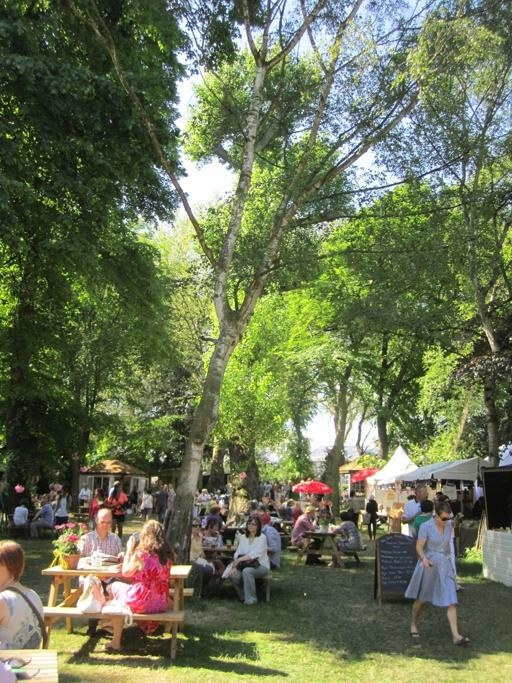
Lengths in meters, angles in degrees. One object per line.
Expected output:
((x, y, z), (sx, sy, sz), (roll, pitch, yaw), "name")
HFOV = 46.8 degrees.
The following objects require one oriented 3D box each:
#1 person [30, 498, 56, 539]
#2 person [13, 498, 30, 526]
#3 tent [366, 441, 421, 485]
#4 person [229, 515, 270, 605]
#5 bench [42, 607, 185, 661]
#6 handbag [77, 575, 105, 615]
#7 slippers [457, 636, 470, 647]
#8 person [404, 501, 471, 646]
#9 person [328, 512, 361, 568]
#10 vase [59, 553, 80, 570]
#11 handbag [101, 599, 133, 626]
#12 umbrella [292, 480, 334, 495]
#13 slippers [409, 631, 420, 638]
((-6.239, 5.164, 17.389), (0.645, 1.022, 1.608), (9, -16, -16), "person")
((-6.676, 4.914, 16.892), (0.437, 0.743, 0.836), (9, -16, -18), "person")
((5.342, 4.860, 22.870), (1.730, 0.995, 1.653), (0, -2, -11), "tent")
((-0.119, 3.365, 9.225), (0.570, 1.253, 0.667), (1, -16, 13), "person")
((-1.399, 2.851, 6.024), (1.302, 0.437, 1.443), (5, -15, -4), "bench")
((-1.598, 2.448, 5.717), (0.168, 0.303, 0.320), (-12, -32, 3), "handbag")
((2.207, 3.197, 6.328), (0.147, 0.084, 0.247), (-2, -16, 19), "slippers")
((2.135, 2.707, 7.138), (0.650, 1.520, 1.512), (0, -16, 14), "person")
((2.208, 4.787, 14.467), (0.765, 1.229, 2.047), (2, -15, 8), "person")
((-1.975, 2.323, 6.260), (0.169, 0.113, 0.161), (7, -23, -19), "vase")
((-1.275, 2.497, 5.504), (0.282, 0.084, 0.271), (13, -9, -2), "handbag")
((2.607, 6.733, 27.177), (1.036, 0.620, 1.433), (12, -17, -28), "umbrella")
((1.826, 3.369, 6.817), (0.082, 0.036, 0.145), (0, -16, 7), "slippers")
